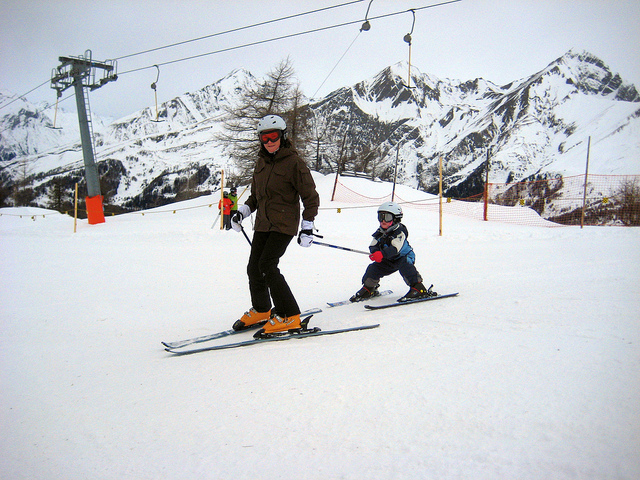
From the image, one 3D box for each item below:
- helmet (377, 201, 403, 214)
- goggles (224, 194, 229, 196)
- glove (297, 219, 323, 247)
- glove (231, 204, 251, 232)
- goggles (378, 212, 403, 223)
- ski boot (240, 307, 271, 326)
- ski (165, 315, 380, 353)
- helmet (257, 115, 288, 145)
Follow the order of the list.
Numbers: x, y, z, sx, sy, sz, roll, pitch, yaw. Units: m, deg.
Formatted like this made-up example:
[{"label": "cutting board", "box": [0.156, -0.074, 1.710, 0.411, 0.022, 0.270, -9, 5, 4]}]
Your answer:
[{"label": "helmet", "box": [0.958, -0.427, 6.881, 0.254, 0.132, 0.184, 8, 0, -16]}, {"label": "goggles", "box": [-2.582, -1.234, 13.944, 0.072, 0.079, 0.073, 2, 1, 6]}, {"label": "glove", "box": [-0.161, -0.063, 5.700, 0.317, 0.338, 0.221, 2, 1, -13]}, {"label": "glove", "box": [-0.959, -0.244, 6.038, 0.100, 0.269, 0.260, 18, 26, 18]}, {"label": "goggles", "box": [0.925, -0.304, 6.858, 0.200, 0.112, 0.160, 11, -9, -27]}, {"label": "ski boot", "box": [-0.749, 0.894, 5.928, 0.446, 0.202, 0.153, -7, -2, -26]}, {"label": "ski", "box": [-0.485, 1.036, 5.491, 1.414, 0.156, 0.197, -5, -5, -12]}, {"label": "helmet", "box": [-0.526, -1.260, 5.698, 0.261, 0.348, 0.315, 0, 46, 2]}]
